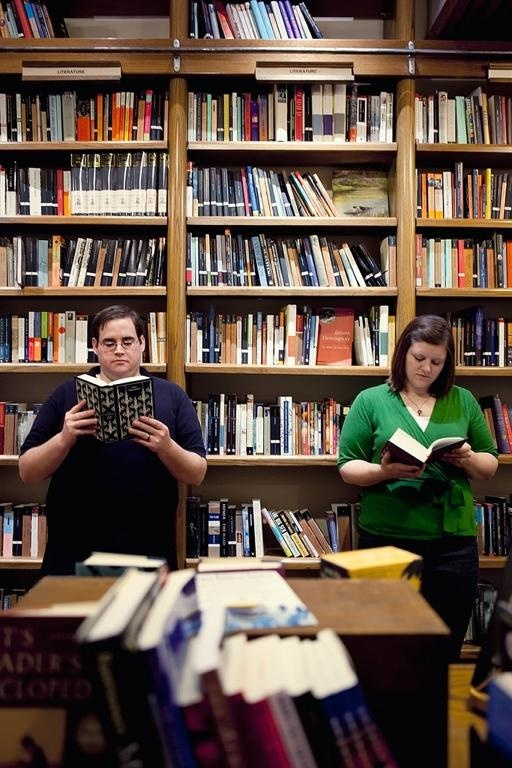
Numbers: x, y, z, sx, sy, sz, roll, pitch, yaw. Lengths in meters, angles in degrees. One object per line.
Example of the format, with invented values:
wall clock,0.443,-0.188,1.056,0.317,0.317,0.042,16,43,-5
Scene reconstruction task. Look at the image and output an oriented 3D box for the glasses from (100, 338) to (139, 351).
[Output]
glasses,-0.381,-0.109,1.782,0.084,0.034,0.028,0,9,-21
